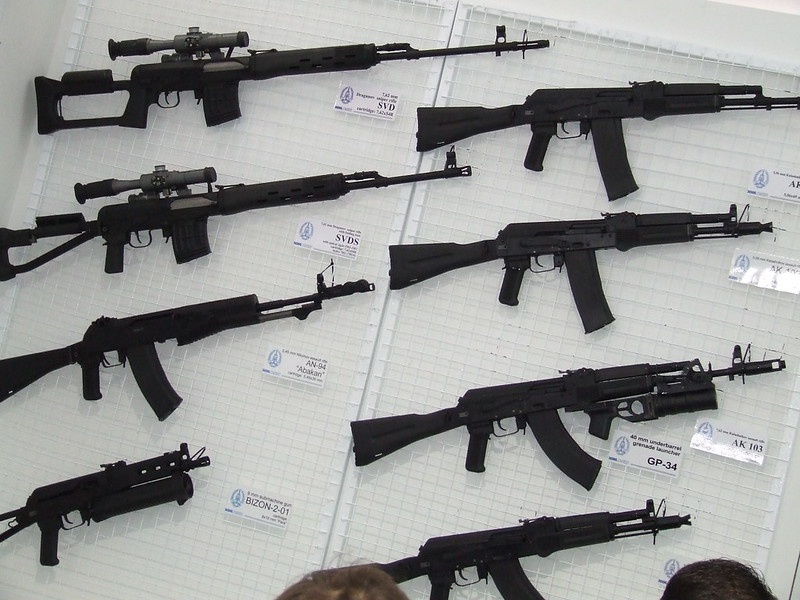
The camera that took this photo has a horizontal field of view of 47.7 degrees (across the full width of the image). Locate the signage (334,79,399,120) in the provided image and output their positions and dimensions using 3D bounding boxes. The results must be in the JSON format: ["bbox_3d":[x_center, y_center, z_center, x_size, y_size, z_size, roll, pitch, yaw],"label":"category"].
[{"bbox_3d":[-0.291,-1.786,8.055,0.559,0.020,0.343,10,65,1],"label":"signage"}]

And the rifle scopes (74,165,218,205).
[{"bbox_3d":[-2.277,-1.030,8.102,1.261,0.250,0.416,-7,98,-3],"label":"rifle scopes"}]

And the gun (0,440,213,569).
[{"bbox_3d":[-2.517,1.845,8.001,2.289,0.256,0.802,-19,75,5],"label":"gun"}]
